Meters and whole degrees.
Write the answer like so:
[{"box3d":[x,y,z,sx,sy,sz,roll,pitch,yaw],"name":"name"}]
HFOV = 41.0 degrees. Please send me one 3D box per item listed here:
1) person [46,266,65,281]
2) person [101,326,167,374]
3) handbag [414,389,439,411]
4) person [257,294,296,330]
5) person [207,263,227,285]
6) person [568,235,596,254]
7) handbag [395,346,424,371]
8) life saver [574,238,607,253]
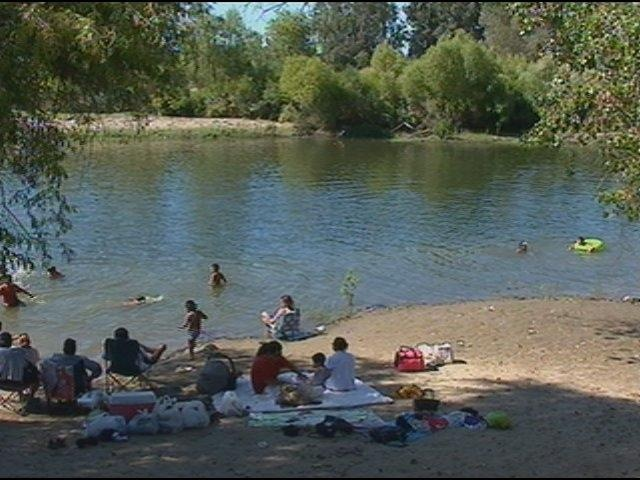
[{"box3d":[-10.613,1.268,34.679,0.585,0.239,0.743,-7,12,-28],"name":"person"},{"box3d":[-5.966,3.506,26.899,1.686,0.802,1.549,3,-4,2],"name":"person"},{"box3d":[3.112,4.615,24.853,0.736,0.339,0.908,0,10,8],"name":"handbag"},{"box3d":[-1.502,2.502,31.274,0.994,1.264,1.729,-7,12,-19],"name":"person"},{"box3d":[-4.068,1.312,34.296,0.623,0.930,0.783,0,12,13],"name":"person"},{"box3d":[12.030,0.178,39.023,1.055,0.246,0.880,-2,21,5],"name":"person"},{"box3d":[2.944,3.835,27.590,0.958,0.642,0.455,-1,12,5],"name":"handbag"},{"box3d":[12.248,0.154,39.019,0.957,0.266,1.008,-1,13,9],"name":"life saver"}]
